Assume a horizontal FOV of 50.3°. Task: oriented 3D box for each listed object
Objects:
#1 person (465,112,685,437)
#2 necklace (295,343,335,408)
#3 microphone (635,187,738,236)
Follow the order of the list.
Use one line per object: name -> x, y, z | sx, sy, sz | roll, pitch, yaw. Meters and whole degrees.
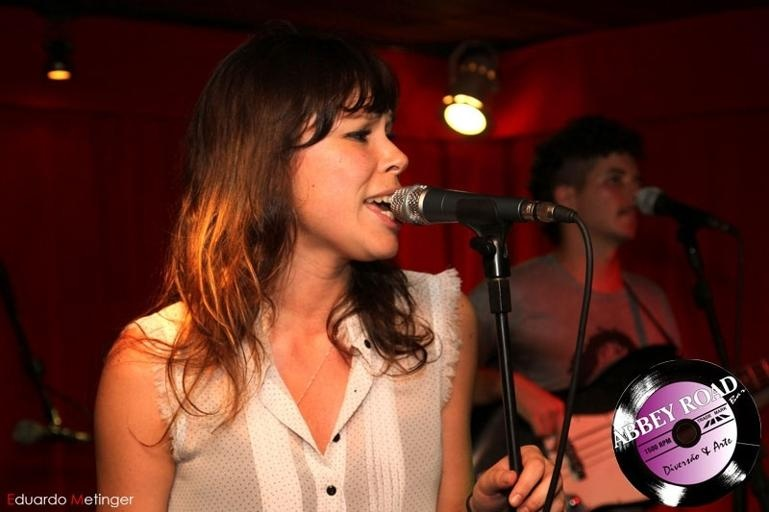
person -> 0.681, 0.041, 3.007 | 0.594, 1.284, 0.471 | -3, 14, -11
necklace -> -0.197, 0.358, 2.525 | 0.025, 0.042, 0.302 | -23, 27, 54
microphone -> 1.069, -0.154, 2.936 | 0.268, 0.086, 0.079 | 20, 5, 8
